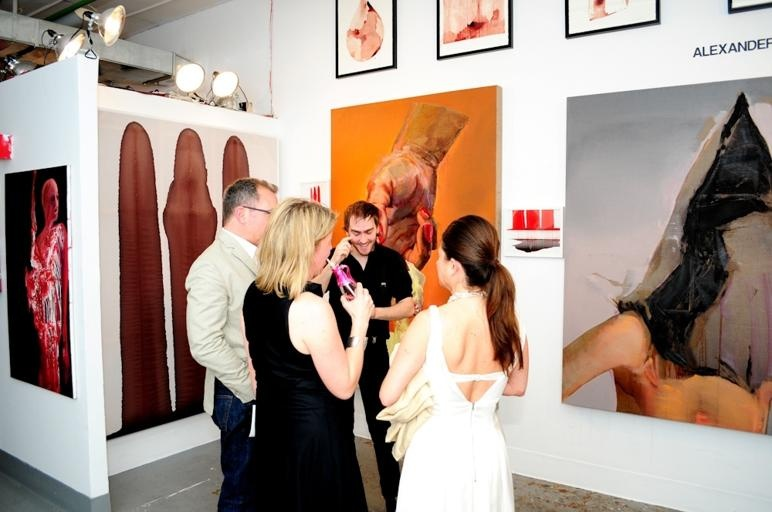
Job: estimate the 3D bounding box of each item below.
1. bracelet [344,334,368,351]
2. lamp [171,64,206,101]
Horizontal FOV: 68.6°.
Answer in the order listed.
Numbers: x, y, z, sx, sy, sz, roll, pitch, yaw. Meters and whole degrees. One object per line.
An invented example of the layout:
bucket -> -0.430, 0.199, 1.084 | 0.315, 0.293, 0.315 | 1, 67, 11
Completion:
bracelet -> -0.186, 0.522, 3.396 | 0.119, 0.066, 0.097 | -7, -8, 39
lamp -> -2.150, -1.864, 6.153 | 0.248, 0.339, 1.087 | -4, 8, -21
